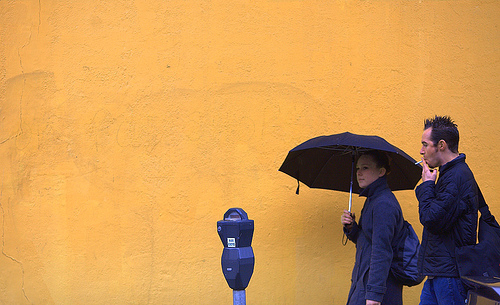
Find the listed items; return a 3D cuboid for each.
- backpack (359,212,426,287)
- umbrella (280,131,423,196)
[{"bbox_3d":[1.710,1.063,11.344,0.774,0.660,0.474,6,11,28],"label":"backpack"},{"bbox_3d":[1.205,0.091,11.391,1.680,0.529,1.575,0,-21,12],"label":"umbrella"}]
